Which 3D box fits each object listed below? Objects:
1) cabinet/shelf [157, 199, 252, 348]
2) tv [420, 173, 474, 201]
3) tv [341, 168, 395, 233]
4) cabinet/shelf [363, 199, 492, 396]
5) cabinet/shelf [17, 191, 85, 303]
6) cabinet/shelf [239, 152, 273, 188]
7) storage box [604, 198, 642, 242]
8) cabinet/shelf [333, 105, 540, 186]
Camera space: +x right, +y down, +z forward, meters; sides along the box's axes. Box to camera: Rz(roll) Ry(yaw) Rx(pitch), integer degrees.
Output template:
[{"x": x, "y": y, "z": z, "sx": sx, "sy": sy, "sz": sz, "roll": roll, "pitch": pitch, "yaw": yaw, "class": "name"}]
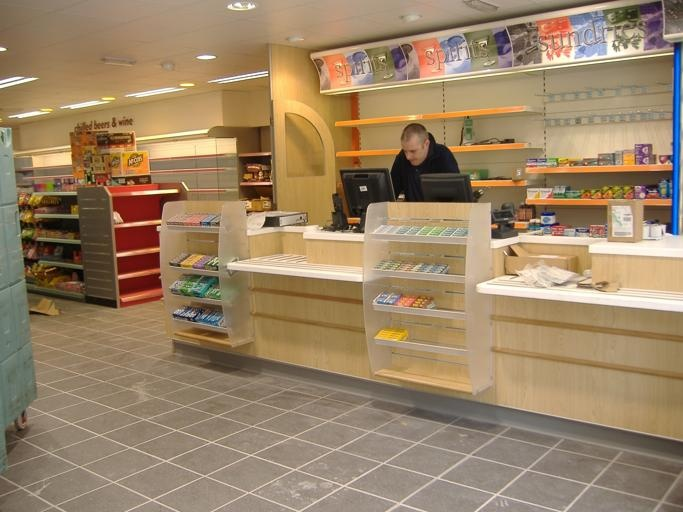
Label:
[{"x": -1.453, "y": 0.209, "z": 5.130, "sx": 1.126, "sy": 1.597, "sz": 0.625, "roll": 6, "pitch": 16, "yaw": 44, "class": "cabinet/shelf"}, {"x": 0.867, "y": -0.556, "z": 3.896, "sx": 0.451, "sy": 0.232, "sz": 0.098, "roll": 2, "pitch": 19, "yaw": 36, "class": "tv"}, {"x": 0.232, "y": -0.519, "z": 4.381, "sx": 0.328, "sy": 0.541, "sz": 0.708, "roll": -15, "pitch": 16, "yaw": -34, "class": "tv"}, {"x": 0.692, "y": 0.333, "z": 3.809, "sx": 0.930, "sy": 1.520, "sz": 0.497, "roll": 3, "pitch": 13, "yaw": 33, "class": "cabinet/shelf"}, {"x": -5.407, "y": -0.241, "z": 8.881, "sx": 0.770, "sy": 1.904, "sz": 2.363, "roll": -15, "pitch": 15, "yaw": -42, "class": "cabinet/shelf"}, {"x": -1.731, "y": -1.871, "z": 10.298, "sx": 0.803, "sy": 0.717, "sz": 0.672, "roll": 2, "pitch": 12, "yaw": 30, "class": "cabinet/shelf"}, {"x": 1.987, "y": -0.246, "z": 3.316, "sx": 0.274, "sy": 0.288, "sz": 0.166, "roll": -3, "pitch": 11, "yaw": 7, "class": "storage box"}, {"x": 1.311, "y": -1.420, "z": 6.080, "sx": 2.552, "sy": 0.682, "sz": 0.386, "roll": 0, "pitch": -2, "yaw": 26, "class": "cabinet/shelf"}]
